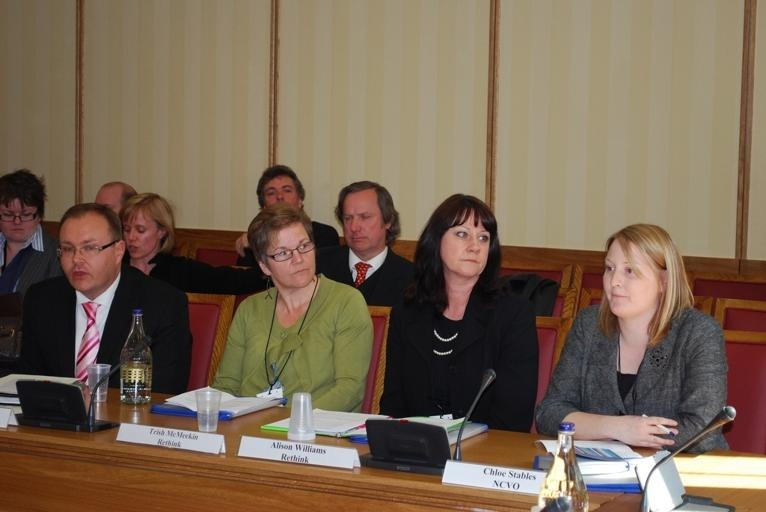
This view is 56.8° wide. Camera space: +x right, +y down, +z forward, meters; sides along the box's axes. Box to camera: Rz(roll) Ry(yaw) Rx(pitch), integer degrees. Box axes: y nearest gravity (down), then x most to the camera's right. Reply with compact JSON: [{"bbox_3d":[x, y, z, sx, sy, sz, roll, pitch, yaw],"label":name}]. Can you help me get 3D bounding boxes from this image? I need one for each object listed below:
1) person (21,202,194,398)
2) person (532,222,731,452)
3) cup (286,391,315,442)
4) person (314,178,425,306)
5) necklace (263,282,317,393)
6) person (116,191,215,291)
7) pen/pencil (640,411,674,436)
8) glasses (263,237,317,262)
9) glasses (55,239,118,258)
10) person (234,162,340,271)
[{"bbox_3d":[-1.435,0.239,3.662,0.821,0.982,0.539,-1,-14,3],"label":"person"},{"bbox_3d":[1.144,0.381,3.249,0.731,1.475,0.780,-8,-20,44],"label":"person"},{"bbox_3d":[-0.301,0.594,2.603,0.135,0.214,0.143,0,-5,0],"label":"cup"},{"bbox_3d":[-0.109,-0.068,4.934,0.899,0.969,0.479,8,13,23],"label":"person"},{"bbox_3d":[-0.447,0.382,3.356,0.244,0.411,0.364,1,0,2],"label":"necklace"},{"bbox_3d":[-1.532,-0.104,5.052,0.606,0.967,0.394,-15,-5,40],"label":"person"},{"bbox_3d":[1.039,0.642,2.698,0.084,0.021,0.025,40,12,-9],"label":"pen/pencil"},{"bbox_3d":[-0.448,-0.025,3.410,0.222,0.078,0.084,2,0,-12],"label":"glasses"},{"bbox_3d":[-1.455,-0.038,3.478,0.300,0.090,0.109,2,0,-2],"label":"glasses"},{"bbox_3d":[-0.808,-0.167,6.105,0.799,1.235,0.707,-4,-12,-3],"label":"person"}]
